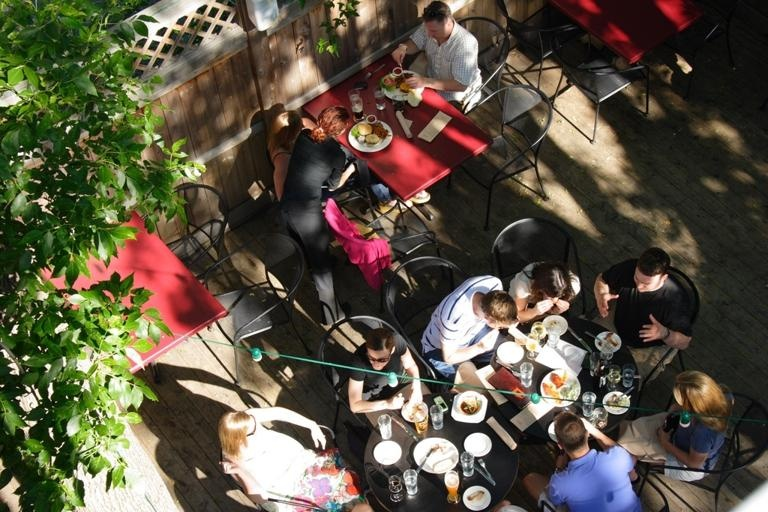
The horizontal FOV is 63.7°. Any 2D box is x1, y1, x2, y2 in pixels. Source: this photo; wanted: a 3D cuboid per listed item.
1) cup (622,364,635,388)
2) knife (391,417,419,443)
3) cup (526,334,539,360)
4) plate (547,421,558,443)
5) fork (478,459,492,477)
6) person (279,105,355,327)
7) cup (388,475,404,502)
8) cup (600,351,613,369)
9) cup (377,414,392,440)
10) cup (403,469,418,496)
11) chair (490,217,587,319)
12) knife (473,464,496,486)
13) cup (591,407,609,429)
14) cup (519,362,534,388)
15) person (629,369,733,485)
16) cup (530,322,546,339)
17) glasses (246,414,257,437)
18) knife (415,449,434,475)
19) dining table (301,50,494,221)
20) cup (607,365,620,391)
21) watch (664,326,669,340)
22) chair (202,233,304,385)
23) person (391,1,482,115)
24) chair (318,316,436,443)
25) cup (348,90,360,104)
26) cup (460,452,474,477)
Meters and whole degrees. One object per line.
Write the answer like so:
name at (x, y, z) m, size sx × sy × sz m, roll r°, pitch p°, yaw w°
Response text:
cup at (2.155, 1.072, 5.470) m, size 0.123 × 0.143 × 0.212 m, roll 0°, pitch -31°, yaw 12°
knife at (0.191, 1.519, 5.351) m, size 0.048 × 0.274 × 0.014 m, roll -36°, pitch -21°, yaw -14°
cup at (1.341, 0.851, 5.662) m, size 0.138 × 0.151 × 0.161 m, roll -22°, pitch -30°, yaw -2°
plate at (1.429, 1.507, 5.278) m, size 0.142 × 0.160 × 0.025 m, roll -2°, pitch -3°, yaw -27°
fork at (0.843, 1.779, 5.196) m, size 0.044 × 0.200 × 0.028 m, roll -18°, pitch -40°, yaw -6°
person at (-0.700, -0.422, 6.413) m, size 0.974 × 0.679 × 2.312 m, roll -35°, pitch -26°, yaw -30°
cup at (0.105, 1.934, 5.122) m, size 0.144 × 0.166 × 0.249 m, roll -10°, pitch -37°, yaw 7°
cup at (1.988, 0.944, 5.593) m, size 0.107 × 0.131 × 0.129 m, roll -3°, pitch -32°, yaw 13°
cup at (0.018, 1.479, 5.308) m, size 0.116 × 0.200 × 0.196 m, roll -4°, pitch -39°, yaw 2°
cup at (0.219, 1.871, 5.073) m, size 0.118 × 0.132 × 0.201 m, roll -8°, pitch -42°, yaw 5°
chair at (1.430, 0.108, 6.616) m, size 0.930 × 0.933 × 1.213 m, roll -17°, pitch -18°, yaw 5°
knife at (0.847, 1.836, 5.166) m, size 0.066 × 0.213 × 0.079 m, roll -27°, pitch -11°, yaw -40°
cup at (1.840, 1.409, 5.393) m, size 0.167 × 0.120 × 0.184 m, roll -2°, pitch -42°, yaw -2°
cup at (1.260, 1.071, 5.492) m, size 0.134 × 0.200 × 0.243 m, roll 3°, pitch -33°, yaw 8°
person at (2.596, 1.558, 5.445) m, size 0.418 × 0.537 × 0.937 m, roll -60°, pitch -22°, yaw -13°
cup at (1.417, 0.675, 5.681) m, size 0.122 × 0.162 × 0.107 m, roll 4°, pitch 6°, yaw 11°
glasses at (-1.088, 1.415, 5.133) m, size 0.097 × 0.151 × 0.130 m, roll 4°, pitch 14°, yaw 7°
knife at (0.343, 1.751, 5.206) m, size 0.232 × 0.026 × 0.025 m, roll -56°, pitch 0°, yaw -30°
dining table at (0.338, -1.263, 6.455) m, size 1.370 × 2.048 × 0.490 m, roll -36°, pitch -18°, yaw -16°
cup at (2.024, 1.098, 5.470) m, size 0.124 × 0.156 × 0.214 m, roll 2°, pitch -28°, yaw 5°
watch at (2.609, 0.729, 5.721) m, size 0.023 × 0.074 × 0.068 m, roll 7°, pitch -6°, yaw -10°
chair at (-1.357, 0.635, 6.540) m, size 0.767 × 0.825 × 1.091 m, roll -19°, pitch -20°, yaw -21°
person at (0.562, -2.239, 7.126) m, size 0.757 × 0.839 × 1.099 m, roll -42°, pitch -12°, yaw -4°
chair at (-0.055, 1.208, 5.780) m, size 0.574 × 0.685 × 0.965 m, roll -35°, pitch -20°, yaw -2°
cup at (-0.304, -1.743, 6.816) m, size 0.100 × 0.175 × 0.178 m, roll 0°, pitch -60°, yaw -3°
cup at (0.695, 1.752, 5.153) m, size 0.108 × 0.117 × 0.178 m, roll -14°, pitch -47°, yaw 5°
